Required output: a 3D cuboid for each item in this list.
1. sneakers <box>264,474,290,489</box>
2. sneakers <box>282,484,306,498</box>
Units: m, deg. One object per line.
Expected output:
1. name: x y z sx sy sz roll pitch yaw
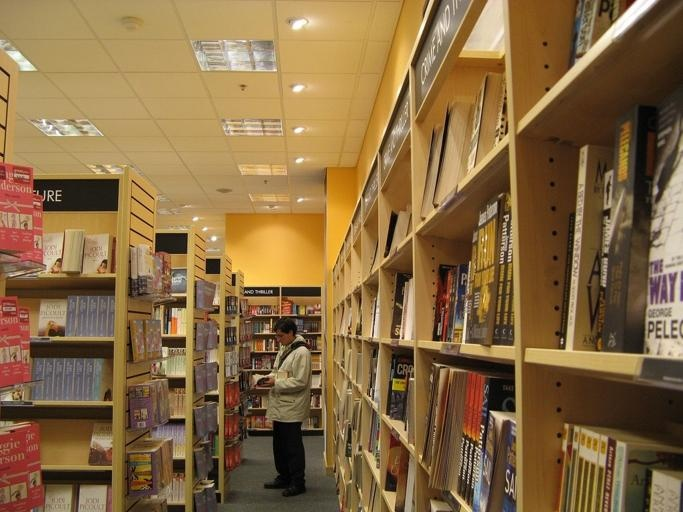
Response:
1. sneakers: -0.776 2.729 6.160 0.281 0.141 0.121 4 -11 -4
2. sneakers: -0.527 2.656 5.760 0.281 0.130 0.104 10 -19 -22
